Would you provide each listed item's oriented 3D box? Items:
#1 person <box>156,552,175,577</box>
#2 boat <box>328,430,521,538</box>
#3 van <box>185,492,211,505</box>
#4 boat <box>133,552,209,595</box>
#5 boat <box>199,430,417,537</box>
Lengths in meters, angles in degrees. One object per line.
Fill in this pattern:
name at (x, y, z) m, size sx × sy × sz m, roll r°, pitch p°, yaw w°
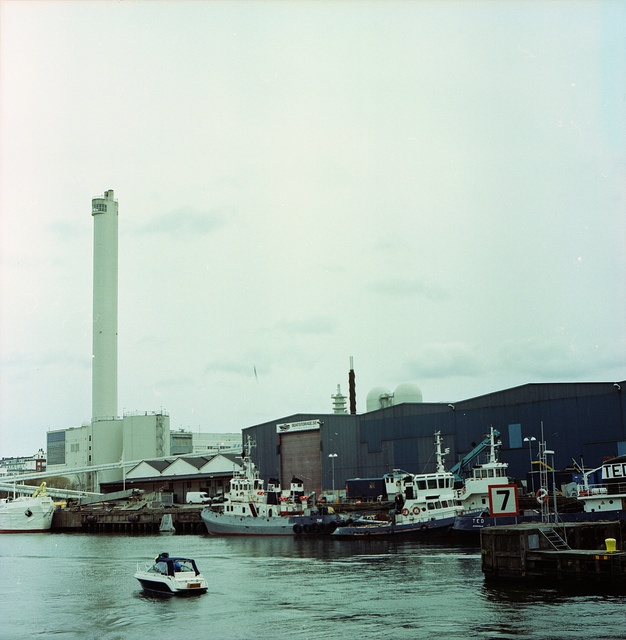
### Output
person at (-6.850, 11.333, 54.598) m, size 0.443 × 1.091 × 0.725 m, roll -8°, pitch -26°, yaw -3°
boat at (7.196, 10.882, 75.802) m, size 10.906 × 7.124 × 4.130 m, roll -7°, pitch -16°, yaw 22°
van at (-11.074, 17.608, 114.885) m, size 2.620 × 1.350 × 1.430 m, roll -4°, pitch -5°, yaw 18°
boat at (-6.800, 11.876, 54.790) m, size 1.550 × 1.554 × 3.516 m, roll 6°, pitch -15°, yaw -35°
boat at (-3.320, 13.189, 89.054) m, size 10.607 × 6.968 × 3.741 m, roll -2°, pitch -7°, yaw 22°
